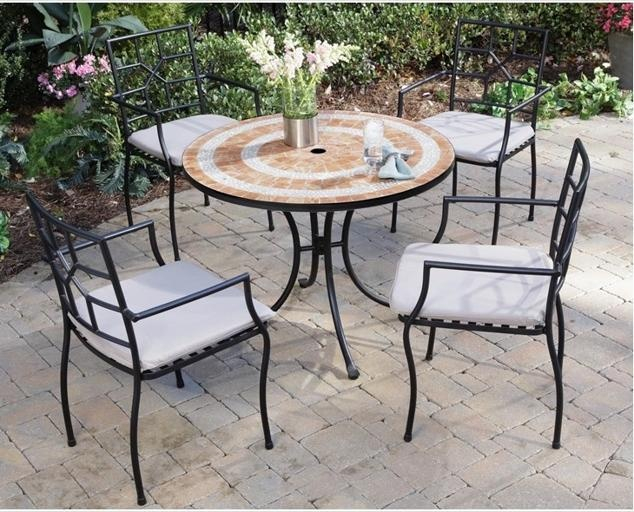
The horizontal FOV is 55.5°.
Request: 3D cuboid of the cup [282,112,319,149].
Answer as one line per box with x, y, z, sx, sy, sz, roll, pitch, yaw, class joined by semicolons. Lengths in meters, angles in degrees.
-0.087;-0.691;3.312;0.275;0.143;0.181;-5;35;-6;cup
